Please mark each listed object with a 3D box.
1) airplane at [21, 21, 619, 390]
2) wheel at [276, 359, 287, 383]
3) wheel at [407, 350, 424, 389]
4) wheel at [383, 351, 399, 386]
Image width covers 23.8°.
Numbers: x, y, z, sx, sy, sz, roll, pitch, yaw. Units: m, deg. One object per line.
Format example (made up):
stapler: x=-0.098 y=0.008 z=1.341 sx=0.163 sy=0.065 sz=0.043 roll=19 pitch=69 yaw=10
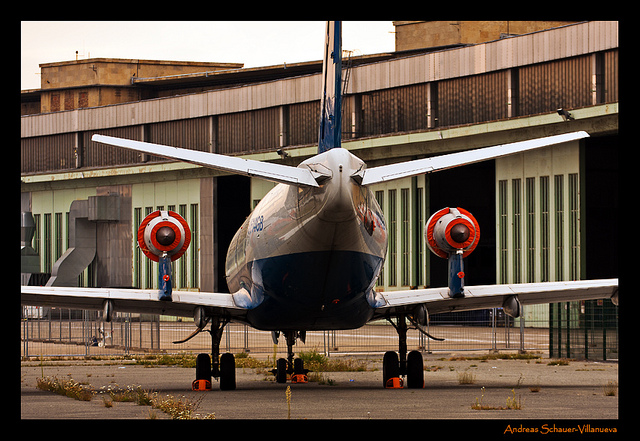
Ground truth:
airplane: x=0.320 y=1.812 z=59.402 sx=23.477 sy=9.560 sz=10.524 roll=2 pitch=-8 yaw=-9
wheel: x=-1.552 y=6.263 z=62.910 sx=0.279 sy=0.765 sz=0.879 roll=-1 pitch=-6 yaw=-2
wheel: x=3.853 y=6.113 z=61.217 sx=0.576 sy=1.675 sz=1.657 roll=0 pitch=-1 yaw=2
wheel: x=2.855 y=5.950 z=60.616 sx=0.526 sy=1.310 sz=1.285 roll=1 pitch=4 yaw=4
